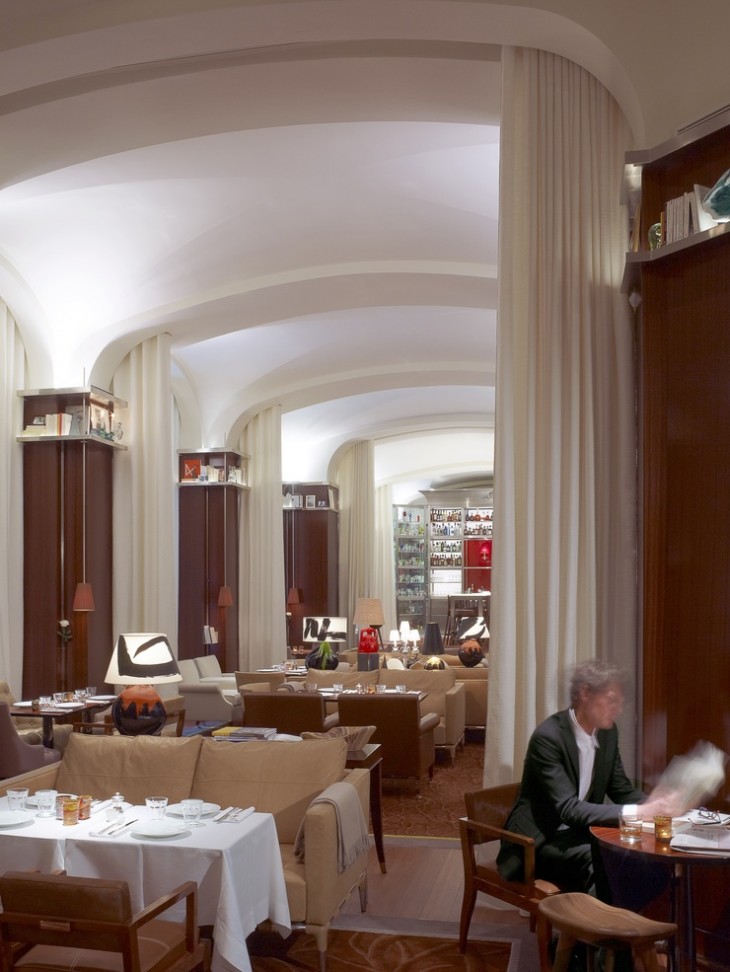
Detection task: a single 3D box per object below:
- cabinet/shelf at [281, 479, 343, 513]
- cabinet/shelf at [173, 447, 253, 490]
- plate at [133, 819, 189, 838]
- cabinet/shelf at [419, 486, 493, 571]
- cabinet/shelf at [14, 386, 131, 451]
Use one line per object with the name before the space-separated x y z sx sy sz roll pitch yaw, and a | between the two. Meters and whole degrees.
cabinet/shelf | -1.254 0.261 17.781 1.278 0.699 0.634 -2 -2 -15
cabinet/shelf | -2.599 -0.292 12.868 1.008 0.576 0.467 -2 -2 -24
plate | -0.754 1.249 2.832 0.105 0.018 0.115 2 -1 -5
cabinet/shelf | 2.589 1.288 21.745 1.892 2.199 0.957 -1 -7 8
cabinet/shelf | -3.165 -0.763 8.507 0.556 0.603 1.213 -4 -2 41
